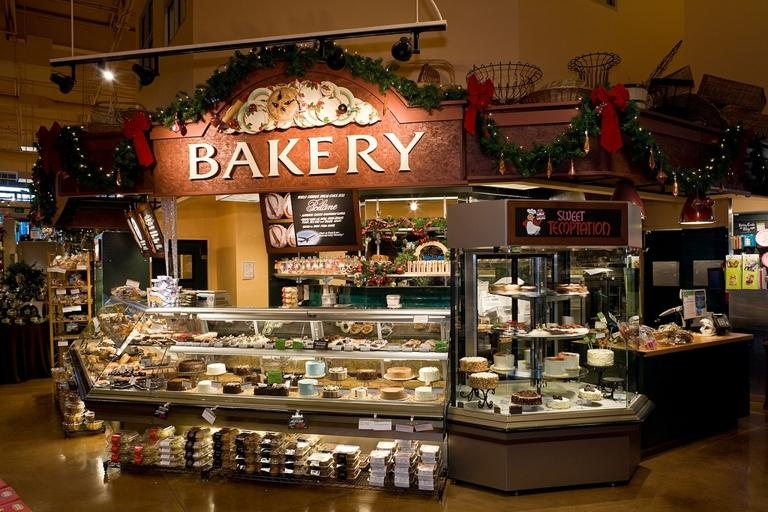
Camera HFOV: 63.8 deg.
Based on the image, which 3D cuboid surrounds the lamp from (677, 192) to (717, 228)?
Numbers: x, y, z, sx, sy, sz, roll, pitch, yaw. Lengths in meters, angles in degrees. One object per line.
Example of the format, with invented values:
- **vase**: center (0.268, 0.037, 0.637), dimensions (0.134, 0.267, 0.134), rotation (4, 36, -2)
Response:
- **lamp**: center (4.748, -0.656, 9.322), dimensions (0.585, 0.541, 0.566), rotation (0, -5, 21)

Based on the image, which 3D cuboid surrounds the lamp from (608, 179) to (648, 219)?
- **lamp**: center (3.397, -0.795, 8.607), dimensions (0.593, 0.492, 0.562), rotation (-1, -1, 17)

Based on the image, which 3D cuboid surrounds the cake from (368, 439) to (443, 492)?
- **cake**: center (0.261, 2.576, 7.714), dimensions (0.935, 0.544, 0.480), rotation (1, 9, 7)

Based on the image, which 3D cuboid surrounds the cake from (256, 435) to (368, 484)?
- **cake**: center (-0.912, 2.578, 7.824), dimensions (1.009, 0.229, 0.665), rotation (2, 0, 12)

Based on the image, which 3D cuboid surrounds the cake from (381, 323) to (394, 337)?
- **cake**: center (0.045, 0.978, 8.277), dimensions (0.171, 0.056, 0.178), rotation (2, 28, -1)

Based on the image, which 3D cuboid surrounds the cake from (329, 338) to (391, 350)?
- **cake**: center (-0.340, 1.175, 8.168), dimensions (0.786, 0.117, 0.209), rotation (0, 9, 4)

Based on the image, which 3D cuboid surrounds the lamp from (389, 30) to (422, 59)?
- **lamp**: center (0.329, -3.007, 8.782), dimensions (0.346, 0.487, 1.040), rotation (0, 9, 5)

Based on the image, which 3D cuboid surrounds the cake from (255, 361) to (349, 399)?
- **cake**: center (-1.060, 1.649, 8.014), dimensions (0.787, 0.204, 0.565), rotation (1, 0, -19)

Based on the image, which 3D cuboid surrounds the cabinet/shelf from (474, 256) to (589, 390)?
- **cabinet/shelf**: center (1.842, 0.839, 7.880), dimensions (1.385, 1.718, 1.029), rotation (-10, -8, 42)

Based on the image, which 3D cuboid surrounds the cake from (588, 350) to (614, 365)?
- **cake**: center (2.761, 1.264, 7.825), dimensions (0.243, 0.105, 0.235), rotation (1, 1, 27)

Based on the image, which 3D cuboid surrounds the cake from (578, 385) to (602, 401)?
- **cake**: center (2.616, 1.726, 7.773), dimensions (0.320, 0.202, 0.080), rotation (-2, 10, -7)

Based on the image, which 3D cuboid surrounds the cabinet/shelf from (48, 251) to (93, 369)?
- **cabinet/shelf**: center (-5.972, 1.038, 11.702), dimensions (0.849, 1.852, 0.659), rotation (-3, 0, -32)

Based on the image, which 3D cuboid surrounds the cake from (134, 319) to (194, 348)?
- **cake**: center (-3.175, 1.061, 8.740), dimensions (0.695, 0.200, 0.483), rotation (1, -1, 16)

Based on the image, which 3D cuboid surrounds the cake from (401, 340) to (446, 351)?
- **cake**: center (0.540, 1.174, 8.049), dimensions (0.326, 0.075, 0.232), rotation (2, -3, -32)

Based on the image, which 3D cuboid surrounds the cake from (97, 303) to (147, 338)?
- **cake**: center (-3.900, 0.932, 9.150), dimensions (0.490, 0.483, 0.941), rotation (3, -2, -44)

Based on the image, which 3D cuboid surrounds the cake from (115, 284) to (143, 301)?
- **cake**: center (-4.235, 0.610, 10.220), dimensions (0.377, 0.121, 0.296), rotation (4, -2, -40)

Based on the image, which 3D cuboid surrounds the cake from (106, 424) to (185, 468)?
- **cake**: center (-3.137, 2.566, 8.270), dimensions (1.128, 0.460, 0.420), rotation (1, 10, 12)

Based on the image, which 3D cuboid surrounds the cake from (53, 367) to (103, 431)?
- **cake**: center (-4.501, 2.122, 9.073), dimensions (0.504, 0.430, 1.201), rotation (3, 0, -22)

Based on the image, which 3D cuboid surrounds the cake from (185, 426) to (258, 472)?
- **cake**: center (-2.108, 2.521, 8.016), dimensions (0.869, 0.268, 0.604), rotation (1, 1, 7)
